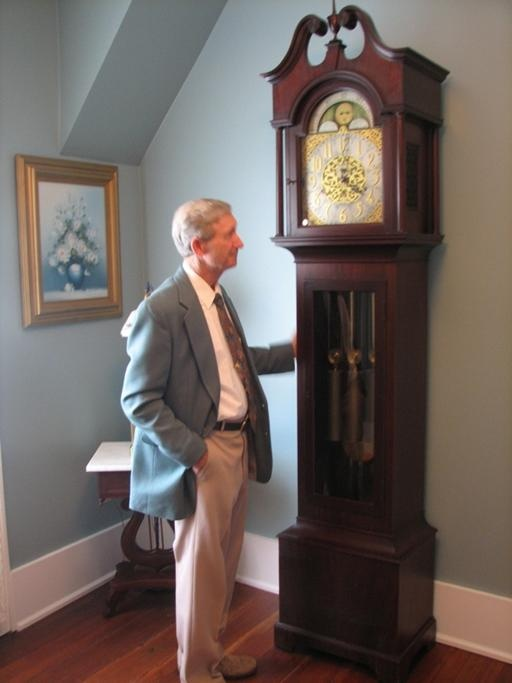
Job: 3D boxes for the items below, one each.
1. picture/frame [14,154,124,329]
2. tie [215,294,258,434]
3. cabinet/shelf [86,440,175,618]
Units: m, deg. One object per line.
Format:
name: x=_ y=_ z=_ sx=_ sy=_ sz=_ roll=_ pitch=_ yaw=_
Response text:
picture/frame: x=-0.736 y=-0.382 z=2.359 sx=0.391 sy=0.690 sz=0.053 roll=-1 pitch=-16 yaw=-25
tie: x=-0.071 y=0.030 z=1.814 sx=0.063 sy=0.703 sz=0.061 roll=-3 pitch=-10 yaw=-19
cabinet/shelf: x=-0.461 y=0.708 z=2.408 sx=0.324 sy=0.627 sz=0.397 roll=-7 pitch=9 yaw=-8
